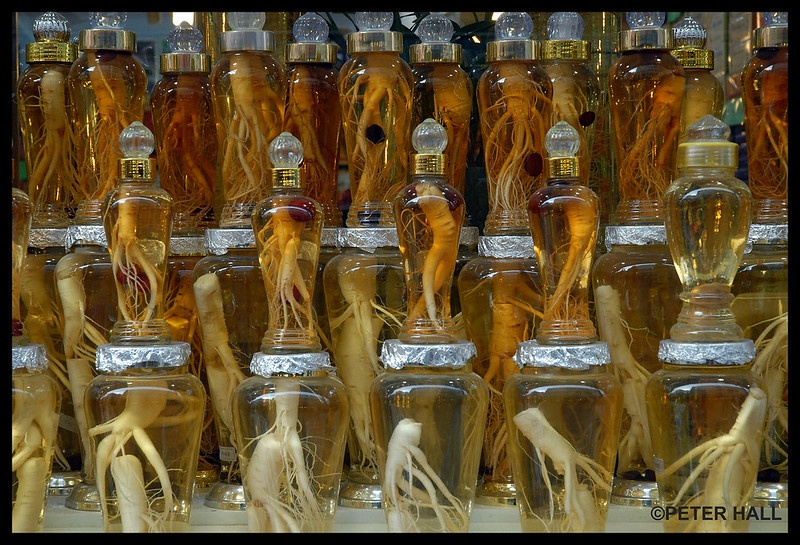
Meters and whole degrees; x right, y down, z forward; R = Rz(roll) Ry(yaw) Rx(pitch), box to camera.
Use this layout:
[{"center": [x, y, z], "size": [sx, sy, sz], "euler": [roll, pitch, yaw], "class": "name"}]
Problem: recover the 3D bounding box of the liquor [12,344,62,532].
[{"center": [-0.551, 0.245, 1.254], "size": [0.071, 0.284, 0.040], "euler": [-5, 7, -24], "class": "liquor"}]
